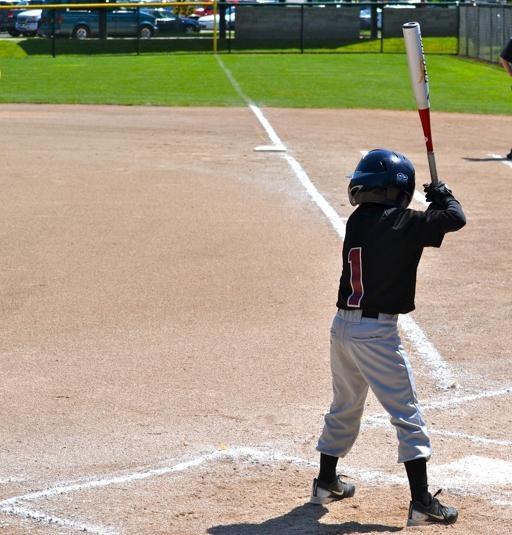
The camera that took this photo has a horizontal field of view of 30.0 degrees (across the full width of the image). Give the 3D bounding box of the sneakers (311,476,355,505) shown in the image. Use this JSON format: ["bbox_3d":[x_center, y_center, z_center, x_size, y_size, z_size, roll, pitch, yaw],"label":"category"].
[{"bbox_3d":[0.399,1.170,5.032,0.299,0.094,0.100,-3,6,-34],"label":"sneakers"}]

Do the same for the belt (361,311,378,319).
[{"bbox_3d":[0.566,0.232,4.746,0.081,0.036,0.019,1,10,7],"label":"belt"}]

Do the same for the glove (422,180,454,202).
[{"bbox_3d":[0.948,-0.405,4.976,0.134,0.058,0.137,10,4,-13],"label":"glove"}]

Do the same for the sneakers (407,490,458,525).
[{"bbox_3d":[0.871,1.210,4.825,0.334,0.160,0.120,-2,0,-15],"label":"sneakers"}]

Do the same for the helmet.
[{"bbox_3d":[0.664,-0.454,4.925,0.360,0.239,0.260,1,14,-34],"label":"helmet"}]

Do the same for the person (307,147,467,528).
[{"bbox_3d":[0.683,0.324,4.861,0.799,1.850,0.553,4,11,22],"label":"person"}]
